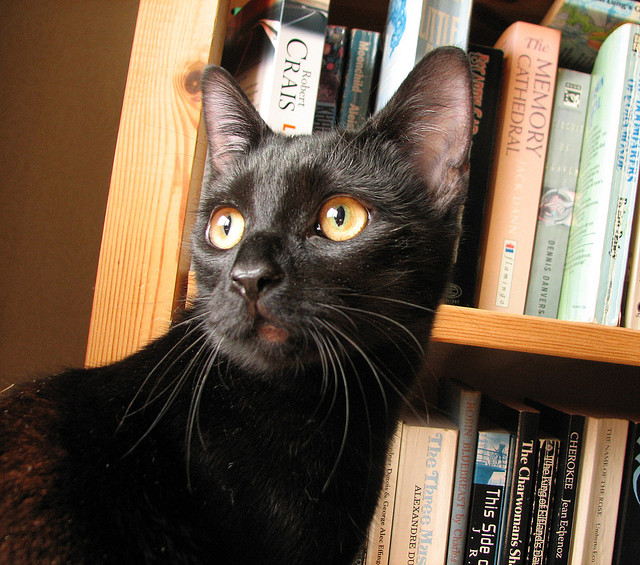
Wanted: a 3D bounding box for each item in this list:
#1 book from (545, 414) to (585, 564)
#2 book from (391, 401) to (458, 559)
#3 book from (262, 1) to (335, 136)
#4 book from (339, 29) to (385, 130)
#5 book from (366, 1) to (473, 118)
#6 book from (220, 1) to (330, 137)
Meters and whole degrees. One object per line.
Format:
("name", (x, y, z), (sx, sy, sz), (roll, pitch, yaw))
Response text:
("book", (0.388, 0.333, 0.946), (0.020, 0.171, 0.203), (4, 13, 24))
("book", (0.156, 0.305, 0.908), (0.079, 0.231, 0.217), (7, 6, 8))
("book", (-0.035, -0.303, 0.882), (0.064, 0.189, 0.182), (7, 5, -7))
("book", (0.060, -0.291, 0.899), (0.054, 0.139, 0.143), (6, 6, -2))
("book", (0.147, -0.307, 0.867), (0.097, 0.160, 0.167), (14, -1, -13))
("book", (-0.061, -0.300, 0.889), (0.066, 0.183, 0.197), (10, 4, -23))
